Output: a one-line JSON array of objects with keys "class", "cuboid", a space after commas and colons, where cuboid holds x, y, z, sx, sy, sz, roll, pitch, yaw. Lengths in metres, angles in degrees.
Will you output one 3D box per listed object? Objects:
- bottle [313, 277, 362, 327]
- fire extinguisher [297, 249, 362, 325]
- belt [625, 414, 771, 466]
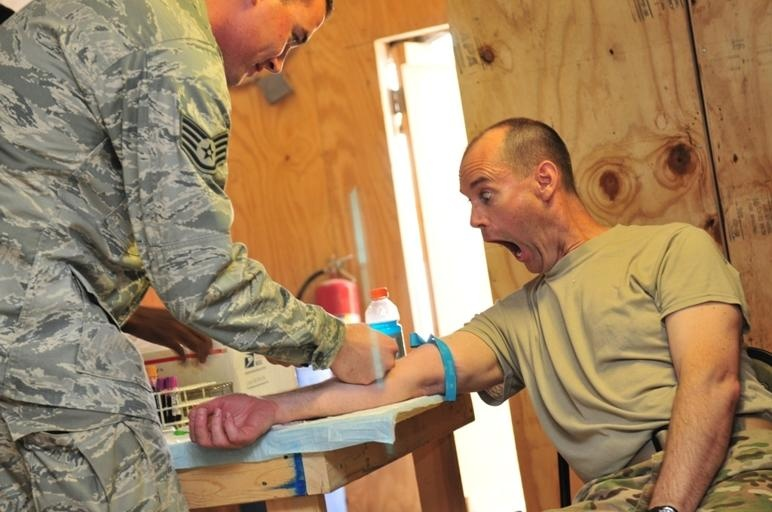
[{"class": "bottle", "cuboid": [-0.222, 0.206, 3.106, 0.188, 0.351, 0.199, -1, -4, 0]}, {"class": "fire extinguisher", "cuboid": [-0.220, 0.144, 3.303, 0.280, 0.393, 0.309, -15, -7, 21]}, {"class": "belt", "cuboid": [0.824, 0.487, 1.843, 0.374, 0.075, 0.087, -11, -8, 11]}]
